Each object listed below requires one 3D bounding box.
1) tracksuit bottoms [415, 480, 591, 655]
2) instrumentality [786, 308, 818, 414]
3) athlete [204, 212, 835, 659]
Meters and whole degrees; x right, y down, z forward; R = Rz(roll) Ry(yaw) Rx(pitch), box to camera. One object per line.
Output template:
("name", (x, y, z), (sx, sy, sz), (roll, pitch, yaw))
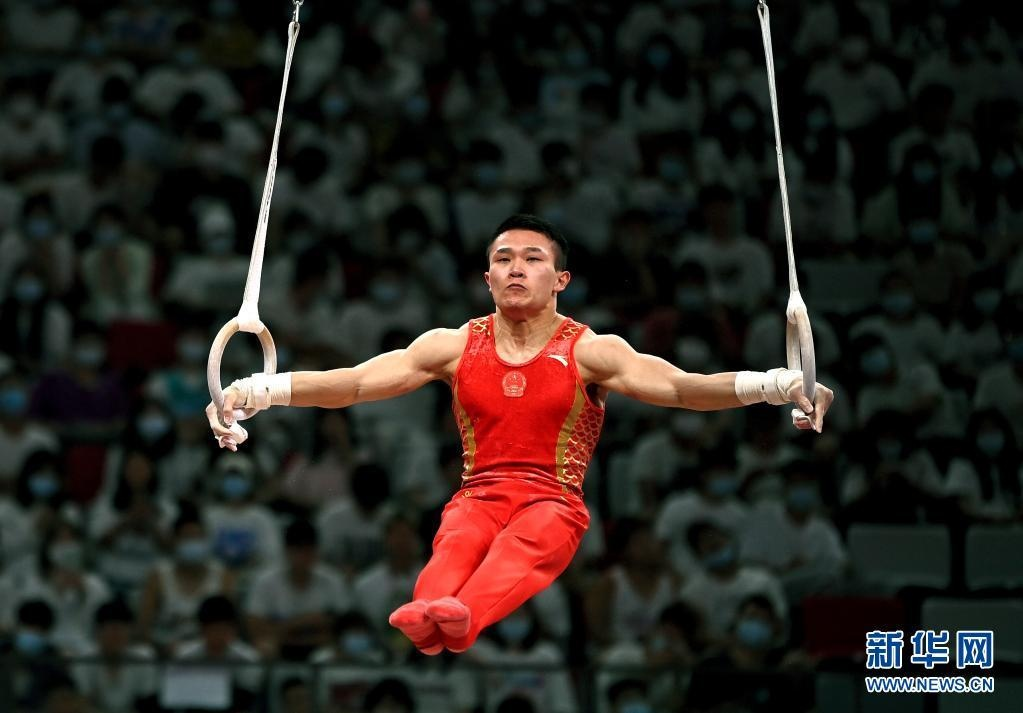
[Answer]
("tracksuit bottoms", (-0.138, 1.188, 10.144), (0.823, 0.463, 1.369), (2, 24, 25))
("instrumentality", (1.655, 0.008, 10.071), (0.172, 0.646, 0.364), (2, -5, 9))
("athlete", (-0.063, 0.455, 10.040), (3.678, 2.515, 1.840), (0, -12, 9))
